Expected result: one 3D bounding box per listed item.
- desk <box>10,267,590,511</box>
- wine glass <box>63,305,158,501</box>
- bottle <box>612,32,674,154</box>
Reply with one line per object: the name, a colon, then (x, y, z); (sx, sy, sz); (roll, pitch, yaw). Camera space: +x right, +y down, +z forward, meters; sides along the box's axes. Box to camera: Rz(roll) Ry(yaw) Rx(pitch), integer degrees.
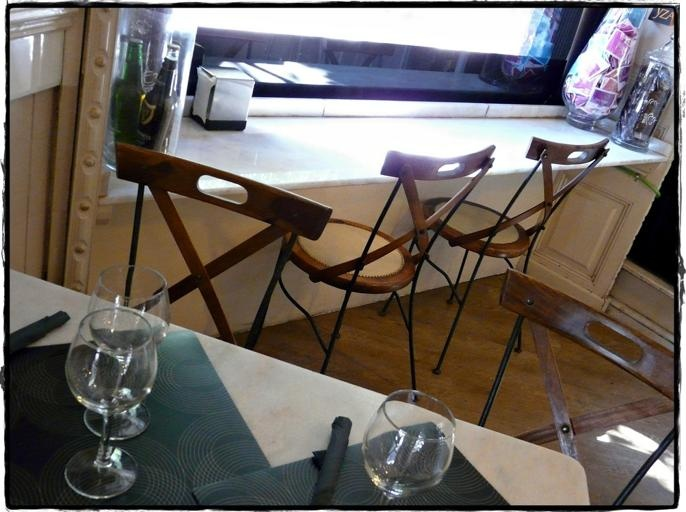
desk: (0.004, 0.258, 0.928); (0.922, 0.229, 0.386); (22, 25, -11)
wine glass: (-0.304, 0.200, 0.657); (0.109, 0.224, 0.106); (-14, 48, -44)
bottle: (1.606, -0.858, 2.580); (0.181, 0.619, 0.177); (2, 40, -2)
